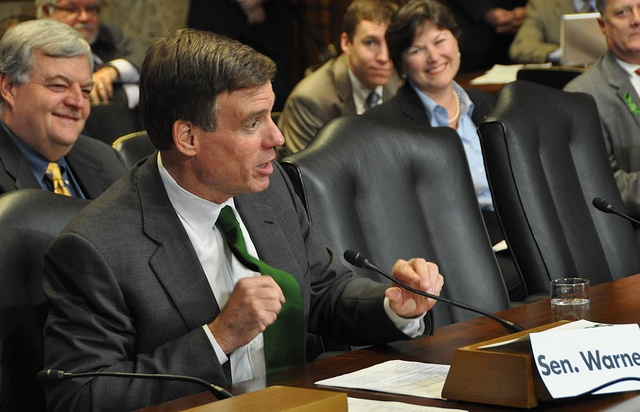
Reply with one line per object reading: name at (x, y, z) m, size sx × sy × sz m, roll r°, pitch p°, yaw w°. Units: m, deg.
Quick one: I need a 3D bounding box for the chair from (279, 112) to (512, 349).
chair at (0.288, 0.081, 2.499) m, size 0.758 × 1.071 × 0.923 m, roll -19°, pitch -1°, yaw -35°

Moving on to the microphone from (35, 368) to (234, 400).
microphone at (-0.466, 0.440, 1.375) m, size 0.411 × 0.031 × 0.103 m, roll 4°, pitch -19°, yaw -2°

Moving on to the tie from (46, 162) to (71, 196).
tie at (-1.213, -0.124, 2.559) m, size 0.059 × 0.189 × 0.054 m, roll -28°, pitch -24°, yaw -21°

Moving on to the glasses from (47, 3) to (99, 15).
glasses at (-1.904, -1.536, 4.310) m, size 0.163 × 0.046 × 0.164 m, roll 13°, pitch 18°, yaw 40°

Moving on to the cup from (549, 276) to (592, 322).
cup at (0.728, 0.282, 1.622) m, size 0.117 × 0.124 × 0.113 m, roll -2°, pitch -2°, yaw 0°

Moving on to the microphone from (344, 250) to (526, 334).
microphone at (0.352, 0.279, 1.805) m, size 0.720 × 0.077 × 0.073 m, roll 19°, pitch -3°, yaw 17°
